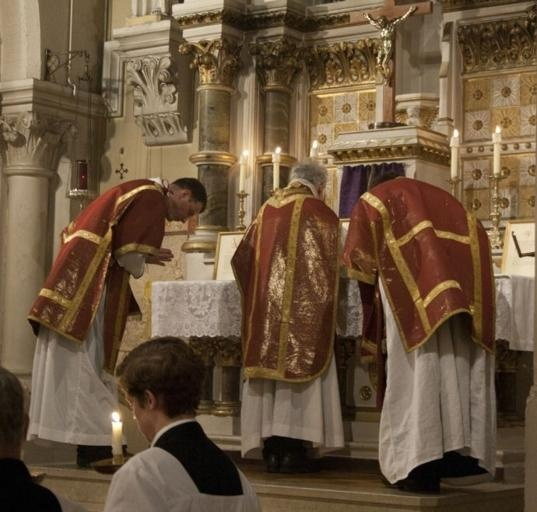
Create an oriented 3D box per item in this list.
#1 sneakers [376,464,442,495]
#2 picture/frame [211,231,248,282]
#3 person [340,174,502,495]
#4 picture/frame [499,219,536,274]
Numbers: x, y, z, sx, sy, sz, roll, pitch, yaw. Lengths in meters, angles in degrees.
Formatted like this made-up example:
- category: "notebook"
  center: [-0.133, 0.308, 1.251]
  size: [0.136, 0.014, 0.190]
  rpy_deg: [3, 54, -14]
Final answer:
- category: "sneakers"
  center: [0.660, 1.057, 5.069]
  size: [0.264, 0.123, 0.124]
  rpy_deg: [2, -7, 4]
- category: "picture/frame"
  center: [-0.276, -0.004, 7.605]
  size: [0.261, 0.367, 0.016]
  rpy_deg: [-3, -13, 37]
- category: "person"
  center: [0.727, 0.356, 5.212]
  size: [0.737, 1.539, 0.517]
  rpy_deg: [0, -4, 12]
- category: "picture/frame"
  center: [1.620, -0.057, 6.958]
  size: [0.210, 0.389, 0.471]
  rpy_deg: [0, -4, 12]
